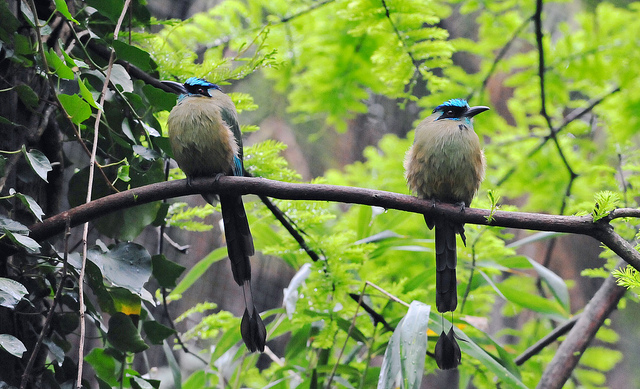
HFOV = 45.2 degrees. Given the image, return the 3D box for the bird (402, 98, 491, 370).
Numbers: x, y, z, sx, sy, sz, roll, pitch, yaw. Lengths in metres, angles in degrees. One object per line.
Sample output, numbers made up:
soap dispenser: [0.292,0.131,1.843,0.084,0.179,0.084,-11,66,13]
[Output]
bird: [1.052,0.130,6.436,0.763,2.450,0.793,24,-42,-10]
